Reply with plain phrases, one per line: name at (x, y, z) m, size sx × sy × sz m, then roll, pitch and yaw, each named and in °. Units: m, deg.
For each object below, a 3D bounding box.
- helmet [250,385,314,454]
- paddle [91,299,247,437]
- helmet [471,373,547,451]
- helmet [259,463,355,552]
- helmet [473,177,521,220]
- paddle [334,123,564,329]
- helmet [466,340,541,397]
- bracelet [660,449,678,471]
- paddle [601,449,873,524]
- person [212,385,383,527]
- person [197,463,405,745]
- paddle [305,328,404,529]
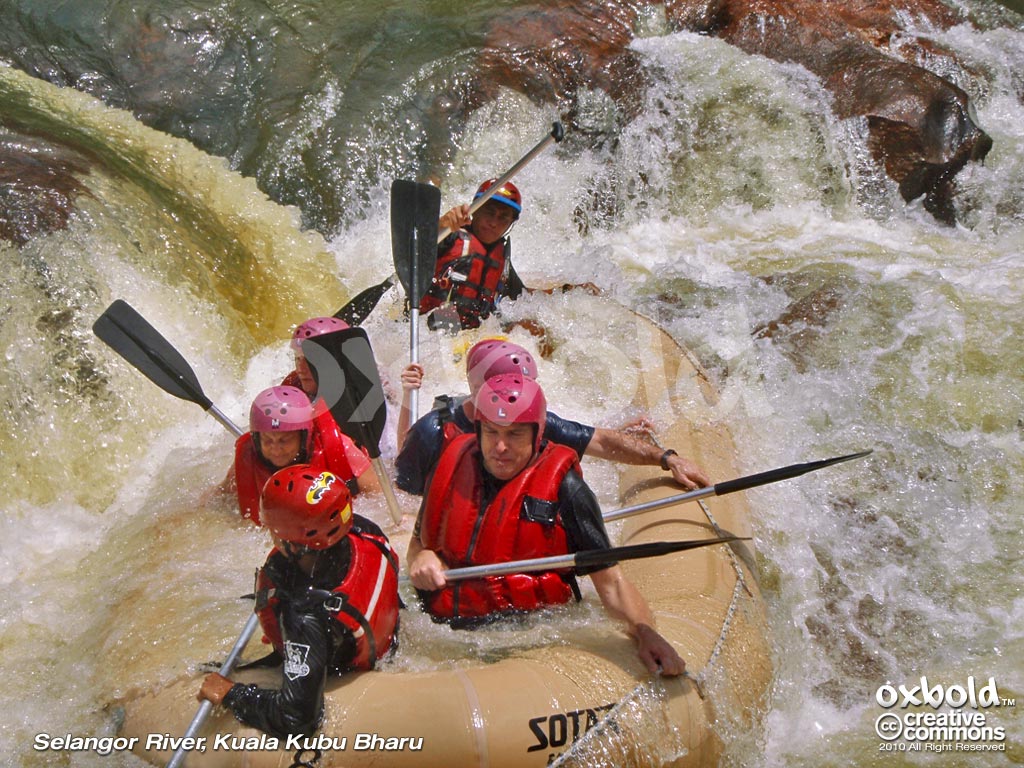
helmet at (-1.516, 0.272, 7.966) m, size 0.284 × 0.402 × 0.359 m, roll 3°, pitch 51°, yaw 1°
paddle at (-2.623, -0.078, 9.049) m, size 1.400 × 0.104 × 0.286 m, roll 43°, pitch 80°, yaw 6°
helmet at (-0.022, 0.171, 7.295) m, size 0.320 × 0.460 × 0.375 m, roll 2°, pitch 10°, yaw 8°
helmet at (-1.183, 0.726, 6.980) m, size 0.490 × 0.389 × 0.379 m, roll 25°, pitch 44°, yaw -19°
helmet at (-0.110, -1.502, 9.642) m, size 0.262 × 0.299 × 0.359 m, roll 28°, pitch -2°, yaw -15°
paddle at (-0.634, -1.312, 10.299) m, size 0.384 × 3.106 × 0.230 m, roll 50°, pitch 18°, yaw 3°
helmet at (-0.051, -0.112, 7.818) m, size 0.287 × 0.374 × 0.406 m, roll 5°, pitch 63°, yaw -13°
bracelet at (1.032, 0.519, 8.105) m, size 0.030 × 0.126 × 0.122 m, roll 12°, pitch 6°, yaw -20°
paddle at (1.457, 0.720, 8.148) m, size 1.601 × 0.088 × 0.141 m, roll -17°, pitch 46°, yaw 21°
person at (-1.436, 0.411, 8.260) m, size 0.733 × 1.111 × 0.918 m, roll -15°, pitch 18°, yaw -5°
person at (-1.251, 1.364, 7.141) m, size 0.576 × 1.080 × 0.910 m, roll 22°, pitch 46°, yaw -2°
paddle at (-1.047, 0.171, 8.080) m, size 0.415 × 1.669 × 0.216 m, roll -14°, pitch 25°, yaw -3°
